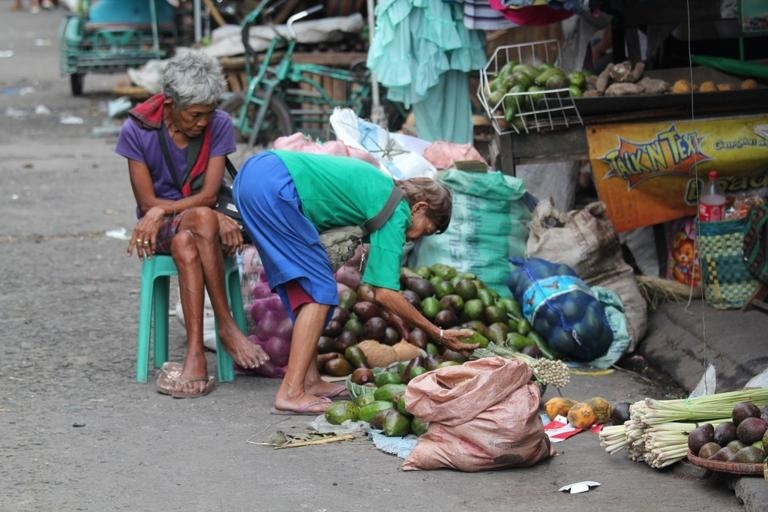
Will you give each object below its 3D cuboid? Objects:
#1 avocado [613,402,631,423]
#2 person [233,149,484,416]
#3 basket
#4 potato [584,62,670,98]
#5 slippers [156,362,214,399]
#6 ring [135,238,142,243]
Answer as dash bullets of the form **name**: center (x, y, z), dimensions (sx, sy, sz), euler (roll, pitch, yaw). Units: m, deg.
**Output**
- **avocado**: center (1.563, 1.018, 6.252), dimensions (0.120, 0.090, 0.109), euler (-2, -8, 12)
- **person**: center (-0.297, 0.154, 6.672), dimensions (1.488, 1.747, 0.676), euler (-3, 16, -2)
- **basket**: center (2.683, 0.062, 7.434), dimensions (0.356, 0.748, 0.318), euler (-1, 0, -4)
- **potato**: center (2.002, -1.407, 8.087), dimensions (0.525, 0.392, 0.675), euler (2, -1, -10)
- **slippers**: center (-1.435, 0.880, 6.818), dimensions (0.368, 0.203, 0.249), euler (2, 16, 12)
- **ring**: center (-1.766, -0.116, 6.866), dimensions (0.044, 0.036, 0.028), euler (-5, 27, 24)
